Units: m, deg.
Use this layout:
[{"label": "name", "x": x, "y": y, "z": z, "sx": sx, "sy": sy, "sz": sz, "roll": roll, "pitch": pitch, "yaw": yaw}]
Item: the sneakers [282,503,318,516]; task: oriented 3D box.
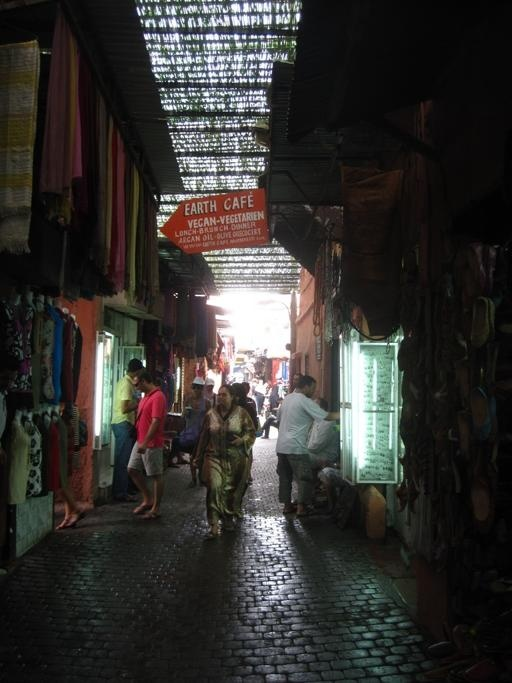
[{"label": "sneakers", "x": 0.576, "y": 2.188, "z": 6.959, "sx": 0.327, "sy": 0.154, "sz": 0.186, "roll": 11, "pitch": -10, "yaw": -39}]

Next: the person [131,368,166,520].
[{"label": "person", "x": -1.483, "y": 1.337, "z": 7.425, "sx": 0.444, "sy": 1.818, "sz": 1.950, "roll": 1, "pitch": -6, "yaw": -10}]

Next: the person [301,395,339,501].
[{"label": "person", "x": 0.928, "y": 1.451, "z": 7.579, "sx": 0.434, "sy": 1.397, "sz": 0.431, "roll": 1, "pitch": 3, "yaw": 14}]

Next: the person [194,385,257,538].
[{"label": "person", "x": -0.311, "y": 1.297, "z": 5.989, "sx": 0.626, "sy": 1.613, "sz": 0.716, "roll": 2, "pitch": -5, "yaw": -15}]

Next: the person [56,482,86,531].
[{"label": "person", "x": -2.074, "y": 1.804, "z": 6.080, "sx": 0.271, "sy": 0.554, "sz": 1.453, "roll": 2, "pitch": -7, "yaw": -17}]

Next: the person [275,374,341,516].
[{"label": "person", "x": 0.602, "y": 1.364, "z": 7.243, "sx": 0.650, "sy": 1.841, "sz": 0.496, "roll": 4, "pitch": 3, "yaw": 43}]
